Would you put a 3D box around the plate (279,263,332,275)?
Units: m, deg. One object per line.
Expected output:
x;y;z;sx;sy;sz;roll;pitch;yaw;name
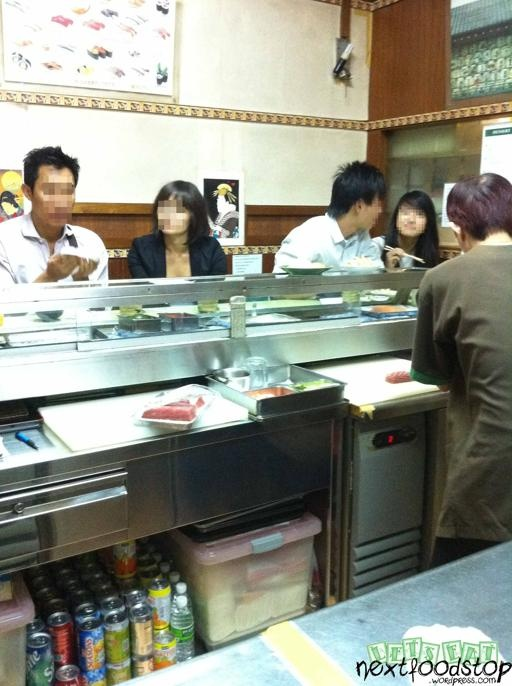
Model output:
0.175;-0.294;2.155;0.203;0.042;0.139;4;10;20;plate

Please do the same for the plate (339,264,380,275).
0.444;-0.316;2.306;0.179;0.040;0.166;2;10;8;plate

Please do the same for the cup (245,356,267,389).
0.018;0.112;1.903;0.069;0.100;0.108;-2;11;2;cup

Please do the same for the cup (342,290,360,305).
0.385;-0.189;2.237;0.062;0.056;0.061;-1;17;0;cup

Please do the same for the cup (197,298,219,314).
-0.173;-0.130;1.882;0.052;0.037;0.052;-1;8;0;cup

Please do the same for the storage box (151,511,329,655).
-0.051;0.762;1.888;0.482;0.317;0.398;-7;10;-30;storage box

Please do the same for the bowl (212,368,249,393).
-0.085;0.128;1.856;0.141;0.068;0.141;0;10;0;bowl
